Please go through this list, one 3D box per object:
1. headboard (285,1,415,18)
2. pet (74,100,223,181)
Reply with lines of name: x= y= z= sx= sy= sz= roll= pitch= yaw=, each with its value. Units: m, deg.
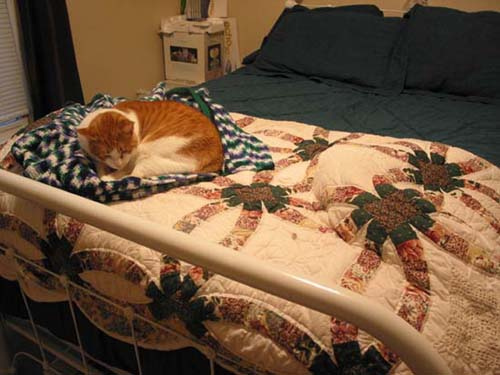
headboard: x=0.617 y=-1.140 z=2.866 sx=0.789 sy=0.073 sz=0.323 roll=10 pitch=22 yaw=16
pet: x=-0.334 y=-0.127 z=1.584 sx=0.389 sy=0.159 sz=0.300 roll=-11 pitch=50 yaw=-46
